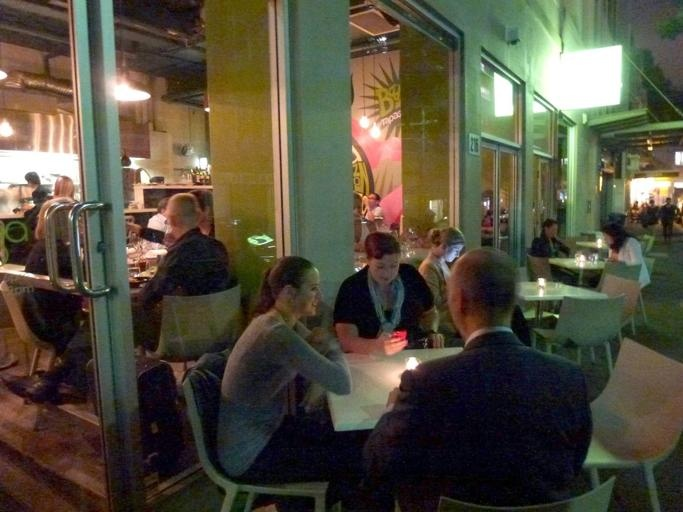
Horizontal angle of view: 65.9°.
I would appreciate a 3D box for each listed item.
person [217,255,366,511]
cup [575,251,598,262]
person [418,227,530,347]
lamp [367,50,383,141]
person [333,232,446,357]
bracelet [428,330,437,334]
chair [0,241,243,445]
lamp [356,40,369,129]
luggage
[{"bbox_3d":[-0.227,0.647,2.687,0.717,1.257,0.484,0,9,2],"label":"person"},{"bbox_3d":[3.351,0.008,7.159,0.173,0.126,0.177,-1,1,0],"label":"cup"},{"bbox_3d":[1.033,0.412,4.570,0.881,1.261,0.559,9,21,17],"label":"person"},{"bbox_3d":[0.585,-2.467,8.945,0.319,0.928,0.077,7,12,42],"label":"lamp"},{"bbox_3d":[0.319,0.329,3.491,0.747,0.837,0.572,-8,13,-18],"label":"person"},{"bbox_3d":[0.631,0.515,3.598,0.048,0.041,0.037,-3,-1,15],"label":"bracelet"},{"bbox_3d":[-1.684,0.354,3.975,1.225,0.876,1.845,2,4,22],"label":"chair"},{"bbox_3d":[0.321,-2.863,9.057,0.327,1.112,0.106,5,11,35],"label":"lamp"},{"bbox_3d":[-1.138,1.012,3.298,0.144,0.610,0.457,0,1,11],"label":"luggage"}]
